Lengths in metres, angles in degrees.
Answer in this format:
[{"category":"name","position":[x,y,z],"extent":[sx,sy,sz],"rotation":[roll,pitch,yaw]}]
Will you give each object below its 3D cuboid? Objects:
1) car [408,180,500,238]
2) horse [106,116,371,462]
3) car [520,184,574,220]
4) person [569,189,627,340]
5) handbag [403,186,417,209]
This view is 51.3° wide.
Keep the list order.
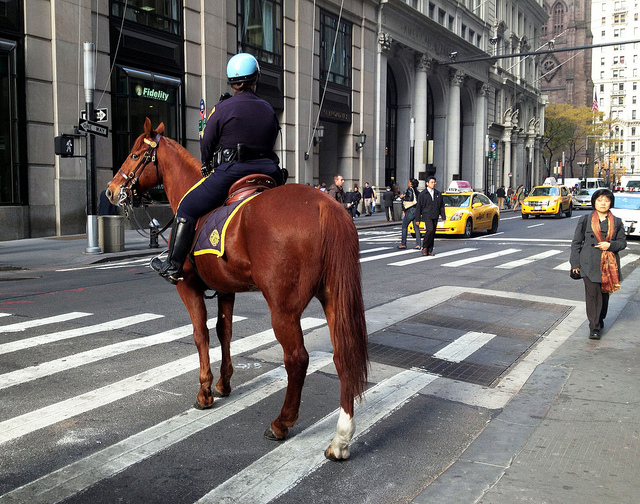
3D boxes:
[{"category":"car","position":[5.248,-1.589,24.829],"extent":[1.839,1.833,4.044],"rotation":[1,5,30]},{"category":"horse","position":[-0.902,0.262,6.734],"extent":[3.564,3.051,0.999],"rotation":[9,12,41]},{"category":"car","position":[12.227,-2.686,36.153],"extent":[2.239,1.739,2.853],"rotation":[5,11,24]},{"category":"person","position":[3.845,0.133,9.312],"extent":[0.707,2.011,0.650],"rotation":[-7,12,-41]},{"category":"handbag","position":[2.776,-1.567,20.675],"extent":[0.298,0.522,0.508],"rotation":[-2,19,4]}]
